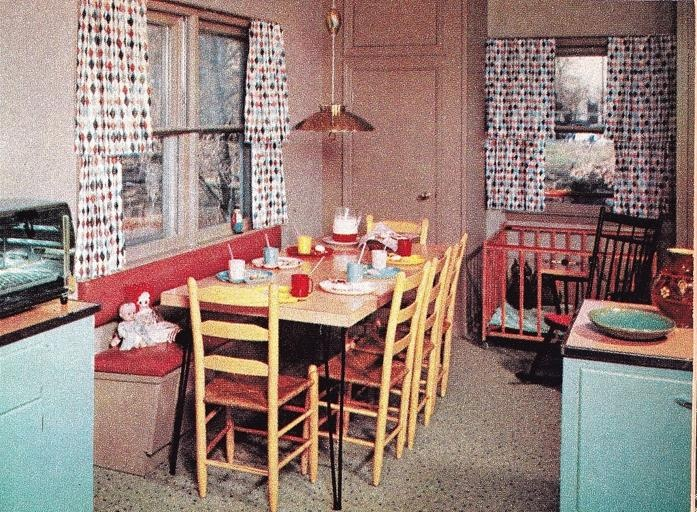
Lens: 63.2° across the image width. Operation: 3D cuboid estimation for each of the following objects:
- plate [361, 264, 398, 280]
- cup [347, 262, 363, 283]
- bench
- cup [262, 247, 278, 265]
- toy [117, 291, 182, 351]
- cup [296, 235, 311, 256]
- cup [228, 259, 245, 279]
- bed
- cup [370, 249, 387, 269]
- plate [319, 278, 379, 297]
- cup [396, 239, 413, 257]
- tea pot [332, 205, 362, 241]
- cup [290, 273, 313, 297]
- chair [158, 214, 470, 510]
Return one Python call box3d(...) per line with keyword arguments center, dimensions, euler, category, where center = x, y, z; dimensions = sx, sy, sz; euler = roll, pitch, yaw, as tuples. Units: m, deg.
box3d(center=(0.190, 0.090, 3.346), dimensions=(0.214, 0.037, 0.238), euler=(3, 14, 7), category="plate")
box3d(center=(0.037, 0.092, 3.175), dimensions=(0.089, 0.106, 0.089), euler=(2, 11, 0), category="cup")
box3d(center=(-1.167, 0.519, 3.483), dimensions=(0.608, 0.957, 1.321), euler=(1, 13, -2), category="bench")
box3d(center=(-0.485, 0.000, 3.526), dimensions=(0.092, 0.116, 0.096), euler=(1, 11, 0), category="cup")
box3d(center=(-1.127, 0.356, 3.204), dimensions=(0.320, 0.243, 0.265), euler=(3, 4, 18), category="toy")
box3d(center=(-0.294, -0.075, 3.880), dimensions=(0.110, 0.135, 0.109), euler=(1, 10, 0), category="cup")
box3d(center=(-0.614, 0.069, 3.204), dimensions=(0.081, 0.113, 0.108), euler=(11, 14, 43), category="cup")
box3d(center=(1.825, 0.135, 5.058), dimensions=(1.491, 1.057, 1.105), euler=(5, 12, 32), category="bed")
box3d(center=(0.184, 0.024, 3.431), dimensions=(0.098, 0.103, 0.084), euler=(0, 6, 6), category="cup")
box3d(center=(-0.004, 0.173, 3.020), dimensions=(0.310, 0.041, 0.158), euler=(1, 14, 1), category="plate")
box3d(center=(0.365, -0.057, 3.783), dimensions=(0.098, 0.124, 0.102), euler=(0, 15, 0), category="cup")
box3d(center=(-0.007, -0.225, 4.286), dimensions=(0.224, 0.252, 0.180), euler=(2, 2, 0), category="tea pot")
box3d(center=(-0.238, 0.152, 2.881), dimensions=(0.110, 0.114, 0.090), euler=(0, 5, -15), category="cup")
box3d(center=(-0.313, 0.125, 3.323), dimensions=(1.124, 1.088, 2.241), euler=(2, 6, 18), category="chair")
